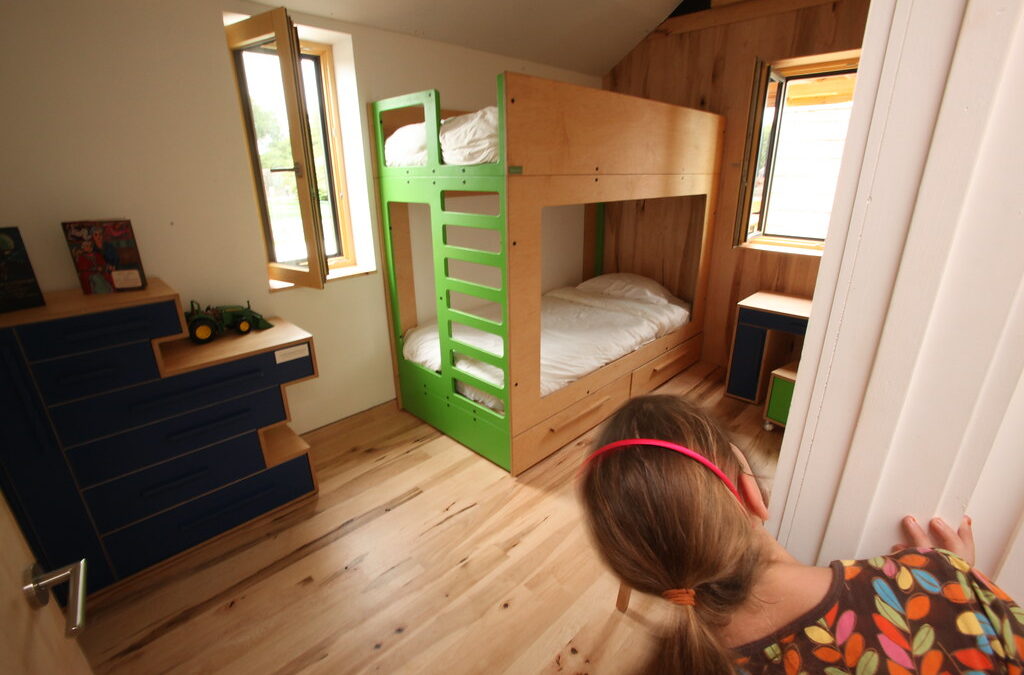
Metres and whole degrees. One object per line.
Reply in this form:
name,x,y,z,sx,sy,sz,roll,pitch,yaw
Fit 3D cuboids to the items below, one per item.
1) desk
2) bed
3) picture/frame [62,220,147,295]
desk,1.468,0.060,3.663,0.461,0.627,0.332,20,35,30
bed,0.345,-0.605,4.094,1.177,1.958,2.200,17,27,41
picture/frame,-1.792,-0.350,2.787,0.249,0.335,0.044,-23,16,-37
